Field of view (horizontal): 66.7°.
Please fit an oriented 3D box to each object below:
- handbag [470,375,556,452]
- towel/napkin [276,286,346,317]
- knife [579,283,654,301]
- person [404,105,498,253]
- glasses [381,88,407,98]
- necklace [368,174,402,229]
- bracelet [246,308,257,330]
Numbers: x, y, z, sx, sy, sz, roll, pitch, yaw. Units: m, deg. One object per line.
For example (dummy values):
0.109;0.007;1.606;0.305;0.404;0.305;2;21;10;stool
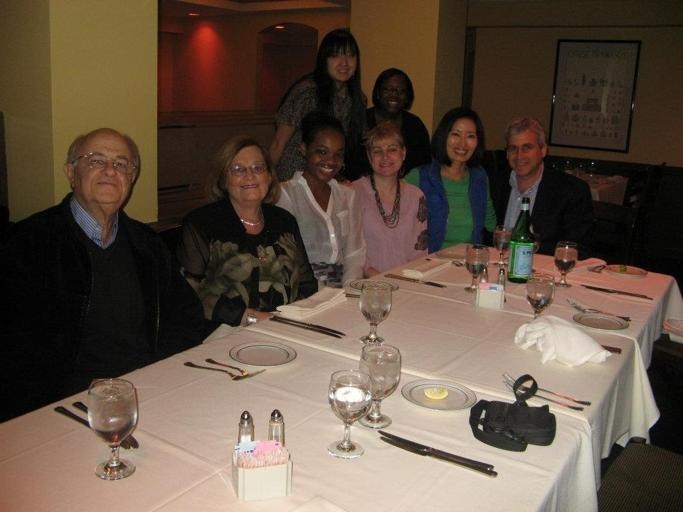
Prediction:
0.453;0.427;1.389;0.212;0.086;0.224;-7;25;8;handbag
-0.120;0.201;2.157;0.117;0.041;0.209;7;21;30;towel/napkin
1.321;0.178;2.508;0.237;0.012;0.036;10;36;23;knife
0.831;-0.516;3.705;0.702;1.020;0.407;-8;19;-24;person
0.422;-1.324;4.210;0.191;0.073;0.047;0;17;2;glasses
0.276;-0.344;3.334;0.204;0.302;0.158;1;17;4;necklace
-0.406;0.271;2.247;0.059;0.032;0.083;-5;59;25;bracelet
